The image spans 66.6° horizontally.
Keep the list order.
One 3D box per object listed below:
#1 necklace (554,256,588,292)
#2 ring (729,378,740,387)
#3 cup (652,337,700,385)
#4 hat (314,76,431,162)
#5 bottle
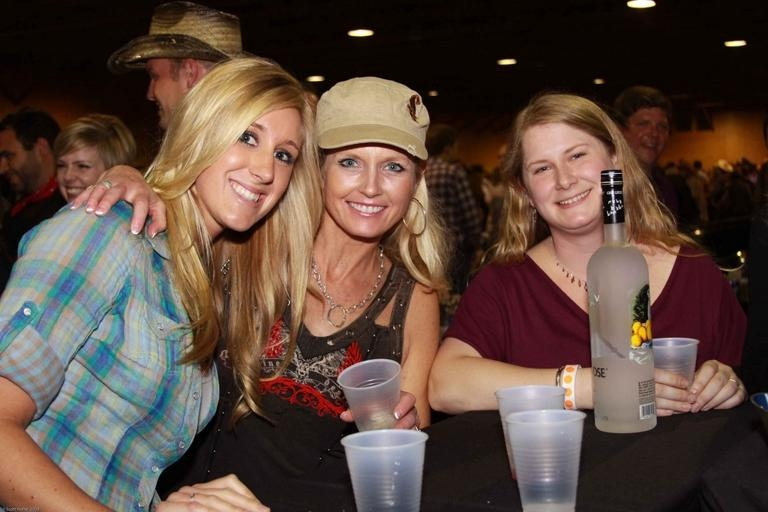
[{"bbox_3d":[0.855,0.083,2.731,0.201,0.065,0.051,52,17,30],"label":"necklace"},{"bbox_3d":[1.190,0.427,1.994,0.052,0.018,0.022,-14,16,-39],"label":"ring"},{"bbox_3d":[0.967,0.328,1.945,0.167,0.158,0.161,2,0,0],"label":"cup"},{"bbox_3d":[-0.044,-0.618,2.582,0.546,0.277,0.526,4,26,-11],"label":"hat"},{"bbox_3d":[0.703,0.149,1.724,0.201,0.801,0.169,1,15,24],"label":"bottle"}]
